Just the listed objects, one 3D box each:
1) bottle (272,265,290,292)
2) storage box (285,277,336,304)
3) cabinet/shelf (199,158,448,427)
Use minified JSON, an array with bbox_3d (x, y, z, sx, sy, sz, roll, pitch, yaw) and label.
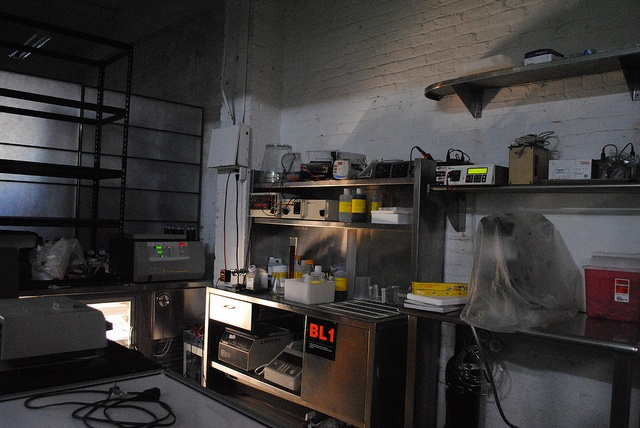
[{"bbox_3d":[-0.356,0.571,4.175,0.183,0.288,0.179,0,-6,0],"label":"bottle"},{"bbox_3d":[-0.106,0.590,3.775,0.242,0.139,0.239,4,-6,-35],"label":"storage box"},{"bbox_3d":[0.081,0.645,3.744,2.099,2.303,0.903,-5,-11,44],"label":"cabinet/shelf"}]
